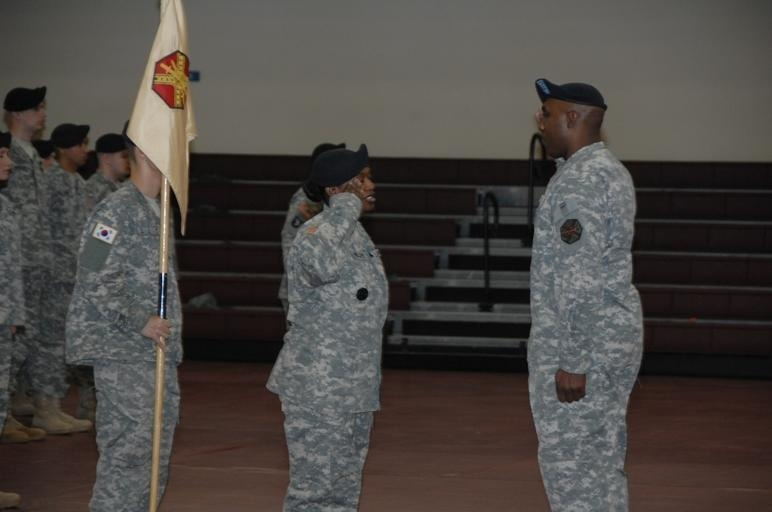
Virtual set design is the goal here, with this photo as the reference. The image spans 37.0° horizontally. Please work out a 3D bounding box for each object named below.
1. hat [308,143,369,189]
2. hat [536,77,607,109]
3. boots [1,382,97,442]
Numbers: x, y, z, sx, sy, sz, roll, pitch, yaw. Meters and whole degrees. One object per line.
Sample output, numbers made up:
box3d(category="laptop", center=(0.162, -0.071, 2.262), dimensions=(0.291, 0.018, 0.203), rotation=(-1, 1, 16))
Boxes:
box3d(category="hat", center=(-0.304, -0.645, 8.373), dimensions=(0.463, 0.239, 0.265), rotation=(0, 35, 13))
box3d(category="hat", center=(1.320, -1.148, 8.236), dimensions=(0.413, 0.112, 0.255), rotation=(6, 1, 9))
box3d(category="boots", center=(-2.894, 1.409, 9.817), dimensions=(0.672, 0.209, 0.363), rotation=(2, 3, -7))
